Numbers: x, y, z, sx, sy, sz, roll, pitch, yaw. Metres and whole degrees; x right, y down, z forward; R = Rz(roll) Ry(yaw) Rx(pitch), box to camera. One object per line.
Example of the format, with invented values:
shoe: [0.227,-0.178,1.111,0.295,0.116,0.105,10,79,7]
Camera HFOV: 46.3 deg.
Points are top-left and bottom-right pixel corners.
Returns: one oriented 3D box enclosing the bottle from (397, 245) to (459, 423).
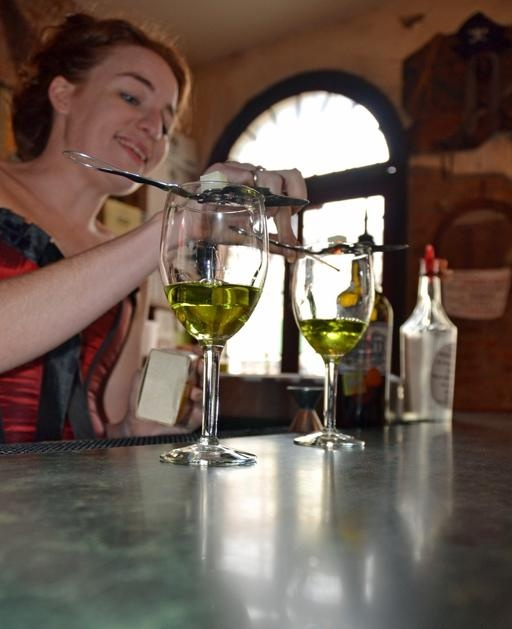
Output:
bottle: [0.297,0.032,1.036,0.088,0.304,0.060,2,-7,14]

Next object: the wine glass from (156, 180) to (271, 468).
wine glass: [-0.035,0.003,0.467,0.086,0.206,0.067,4,-7,-9]

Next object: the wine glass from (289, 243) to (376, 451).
wine glass: [0.082,0.029,0.665,0.092,0.217,0.198,3,-6,2]
